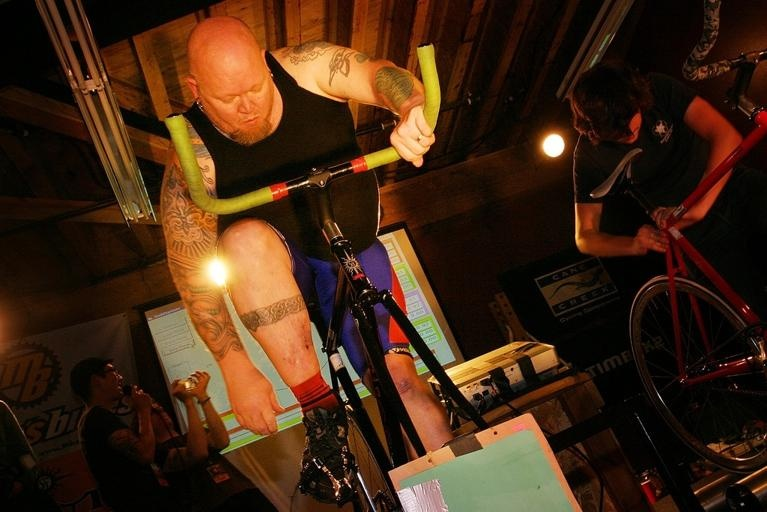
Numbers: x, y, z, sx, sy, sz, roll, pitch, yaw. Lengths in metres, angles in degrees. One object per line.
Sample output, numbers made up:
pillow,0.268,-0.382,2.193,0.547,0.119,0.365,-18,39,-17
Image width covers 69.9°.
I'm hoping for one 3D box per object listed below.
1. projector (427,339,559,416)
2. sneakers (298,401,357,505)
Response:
projector,0.883,0.865,4.432,1.011,0.538,0.738,-1,3,-7
sneakers,-0.287,1.019,2.844,0.281,0.515,0.291,0,0,-4
